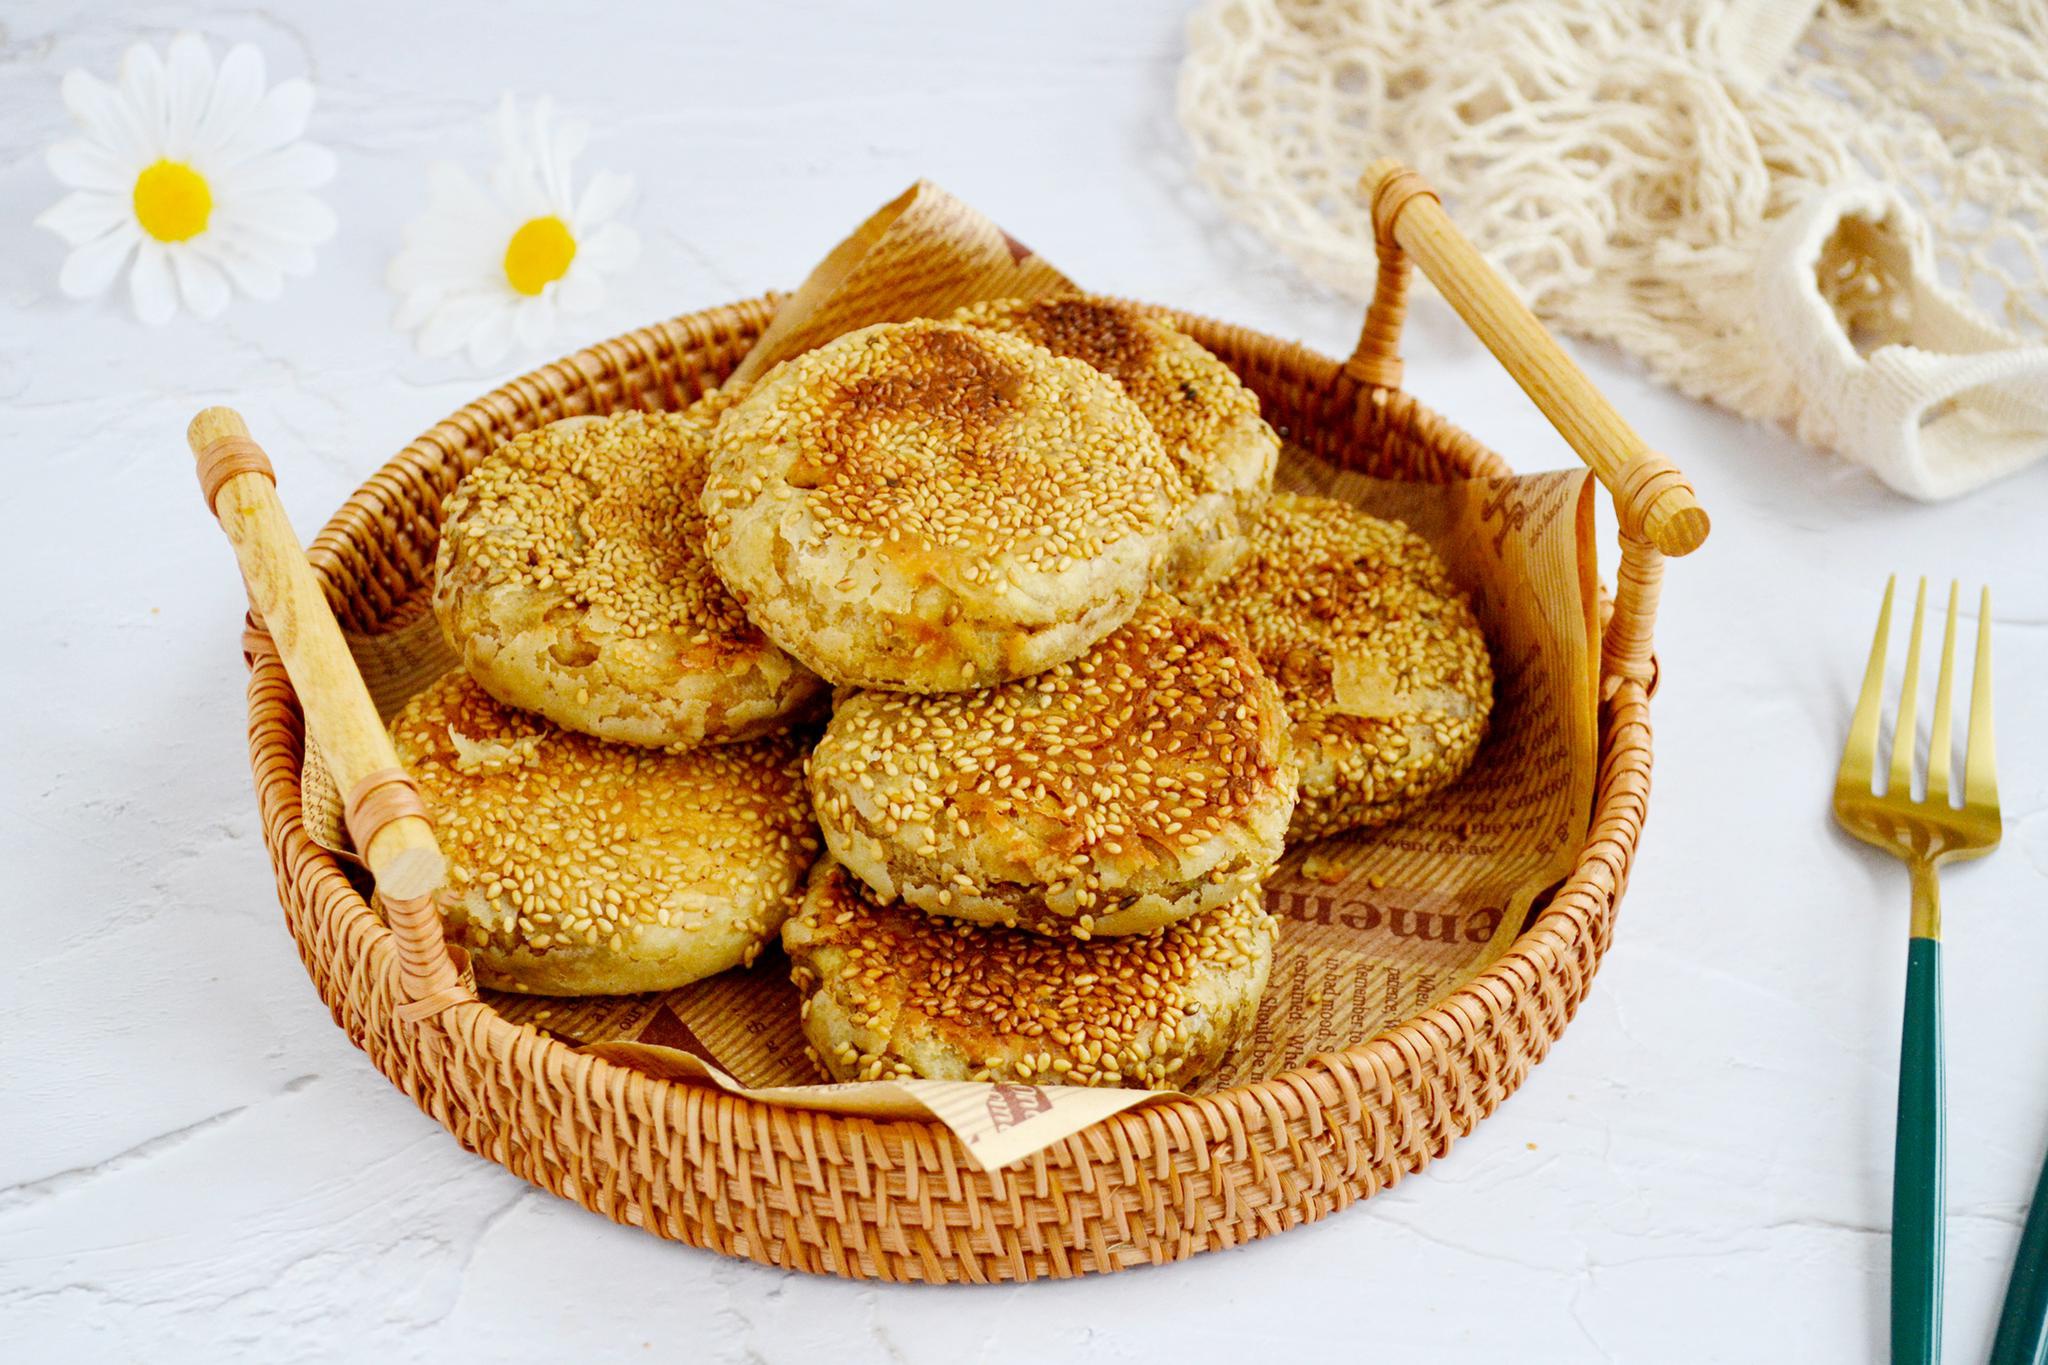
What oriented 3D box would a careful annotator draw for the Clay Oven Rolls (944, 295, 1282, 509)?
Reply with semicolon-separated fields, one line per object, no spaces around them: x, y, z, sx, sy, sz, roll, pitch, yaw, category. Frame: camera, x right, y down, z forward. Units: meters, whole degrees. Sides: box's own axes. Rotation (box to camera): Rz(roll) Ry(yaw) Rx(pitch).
0.164;-0.408;3.585;0.449;0.375;0.137;46;126;27;Clay Oven Rolls
